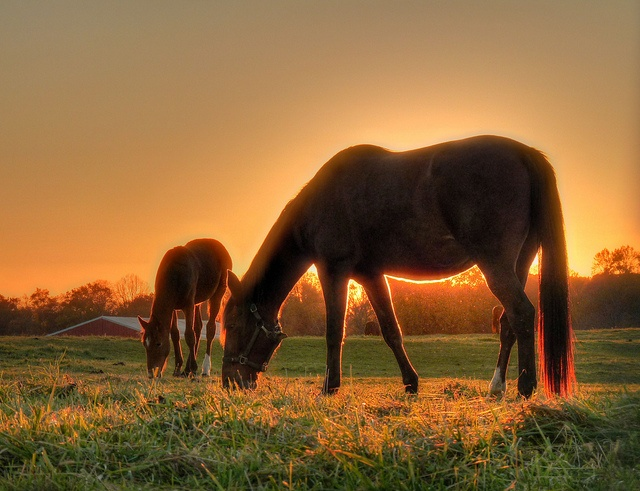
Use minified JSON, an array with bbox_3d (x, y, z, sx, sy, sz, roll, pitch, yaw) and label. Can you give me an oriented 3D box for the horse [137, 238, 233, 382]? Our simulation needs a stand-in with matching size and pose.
[{"bbox_3d":[-2.449,1.295,13.629,0.819,2.537,3.272,-2,6,15],"label":"horse"}]
